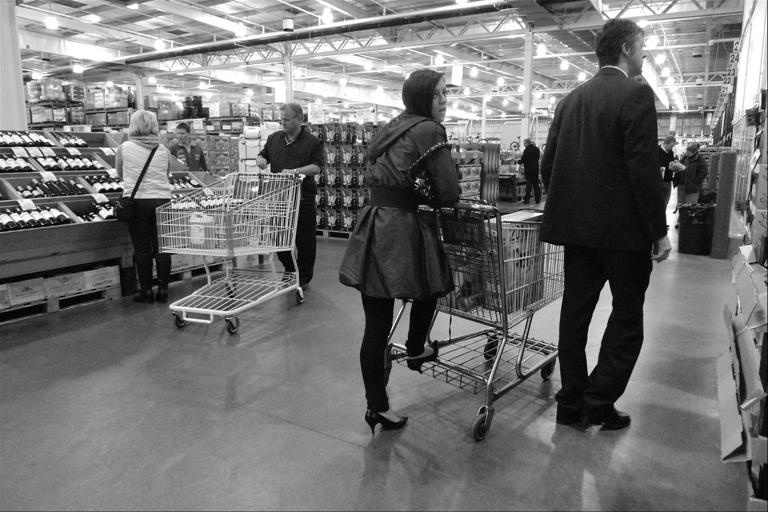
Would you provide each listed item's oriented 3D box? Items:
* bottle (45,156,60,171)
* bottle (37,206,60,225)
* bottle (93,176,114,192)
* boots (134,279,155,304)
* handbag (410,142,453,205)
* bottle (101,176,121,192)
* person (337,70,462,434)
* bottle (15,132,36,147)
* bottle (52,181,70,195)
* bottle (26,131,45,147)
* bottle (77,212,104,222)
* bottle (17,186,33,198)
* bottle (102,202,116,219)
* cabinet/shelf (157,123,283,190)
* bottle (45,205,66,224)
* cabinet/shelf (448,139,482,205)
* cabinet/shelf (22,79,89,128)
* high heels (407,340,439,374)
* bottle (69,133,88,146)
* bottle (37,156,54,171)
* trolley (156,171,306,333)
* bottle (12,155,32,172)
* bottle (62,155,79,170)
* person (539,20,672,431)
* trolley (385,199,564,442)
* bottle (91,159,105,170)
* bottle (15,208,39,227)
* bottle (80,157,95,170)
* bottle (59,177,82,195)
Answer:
[{"bbox_3d":[-3.985,-1.142,6.236,0.128,0.069,0.215,-4,35,-43],"label":"bottle"},{"bbox_3d":[-3.565,-0.430,5.475,0.085,0.082,0.253,-29,58,-13],"label":"bottle"},{"bbox_3d":[-3.406,-0.886,6.327,0.220,0.066,0.215,9,23,-4],"label":"bottle"},{"bbox_3d":[-2.684,0.421,5.851,0.336,0.250,0.123,10,12,36],"label":"boots"},{"bbox_3d":[0.319,-0.516,3.338,0.286,0.366,0.187,20,33,25],"label":"handbag"},{"bbox_3d":[-3.397,-0.901,6.358,0.284,0.085,0.278,11,29,-6],"label":"bottle"},{"bbox_3d":[0.111,-0.022,3.420,0.813,2.330,0.537,-10,16,-25],"label":"person"},{"bbox_3d":[-4.363,-1.426,6.280,0.103,0.097,0.434,-23,32,-31],"label":"bottle"},{"bbox_3d":[-3.715,-0.785,5.943,0.151,0.018,0.378,-8,41,-34],"label":"bottle"},{"bbox_3d":[-4.341,-1.474,6.425,0.268,0.081,0.281,19,23,-8],"label":"bottle"},{"bbox_3d":[-3.269,-0.434,5.774,0.165,0.044,0.170,5,21,-2],"label":"bottle"},{"bbox_3d":[-3.943,-0.715,5.685,0.167,0.048,0.157,9,29,-5],"label":"bottle"},{"bbox_3d":[-3.141,-0.520,5.891,0.061,0.069,0.271,38,-2,-36],"label":"bottle"},{"bbox_3d":[-3.048,-1.874,9.336,2.347,1.036,2.923,-3,10,-34],"label":"cabinet/shelf"},{"bbox_3d":[-3.527,-0.446,5.545,0.093,0.088,0.298,-23,43,-23],"label":"bottle"},{"bbox_3d":[1.595,-1.763,11.325,0.687,1.075,1.176,5,11,35],"label":"cabinet/shelf"},{"bbox_3d":[-7.922,-3.690,12.682,0.626,1.066,1.150,6,14,28],"label":"cabinet/shelf"},{"bbox_3d":[0.332,0.715,3.897,0.122,0.172,0.367,5,29,31],"label":"high heels"},{"bbox_3d":[-4.098,-1.570,6.940,0.203,0.064,0.191,6,31,-4],"label":"bottle"},{"bbox_3d":[-4.025,-1.120,6.159,0.222,0.059,0.130,45,45,15],"label":"bottle"},{"bbox_3d":[-1.616,-0.156,5.565,1.094,1.550,1.552,1,6,18],"label":"trolley"},{"bbox_3d":[-4.153,-1.072,5.945,0.144,0.069,0.258,-11,44,-45],"label":"bottle"},{"bbox_3d":[-3.885,-1.169,6.399,0.104,0.100,0.393,-15,40,-20],"label":"bottle"},{"bbox_3d":[1.441,-0.036,3.427,0.775,2.365,0.582,2,16,16],"label":"person"},{"bbox_3d":[0.712,0.395,3.972,1.459,1.335,0.920,-10,3,30],"label":"trolley"},{"bbox_3d":[-3.681,-1.187,6.630,0.076,0.077,0.292,24,5,-42],"label":"bottle"},{"bbox_3d":[-3.671,-0.395,5.307,0.118,0.112,0.411,-12,40,-41],"label":"bottle"},{"bbox_3d":[-3.750,-1.201,6.546,0.180,0.062,0.175,13,35,-9],"label":"bottle"},{"bbox_3d":[-3.681,-0.828,6.085,0.246,0.068,0.259,22,22,-9],"label":"bottle"}]
